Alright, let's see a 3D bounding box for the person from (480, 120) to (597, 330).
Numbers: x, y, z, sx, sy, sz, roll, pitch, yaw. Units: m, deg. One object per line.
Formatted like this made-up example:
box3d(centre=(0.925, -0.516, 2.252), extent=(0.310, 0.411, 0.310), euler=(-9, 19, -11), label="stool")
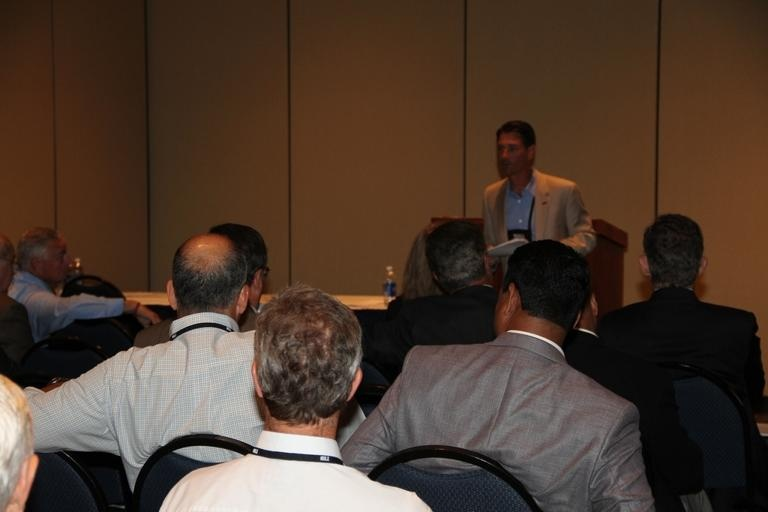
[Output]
box3d(centre=(1.122, -0.188, 5.138), extent=(0.983, 1.713, 0.874), euler=(2, 6, 44), label="person")
